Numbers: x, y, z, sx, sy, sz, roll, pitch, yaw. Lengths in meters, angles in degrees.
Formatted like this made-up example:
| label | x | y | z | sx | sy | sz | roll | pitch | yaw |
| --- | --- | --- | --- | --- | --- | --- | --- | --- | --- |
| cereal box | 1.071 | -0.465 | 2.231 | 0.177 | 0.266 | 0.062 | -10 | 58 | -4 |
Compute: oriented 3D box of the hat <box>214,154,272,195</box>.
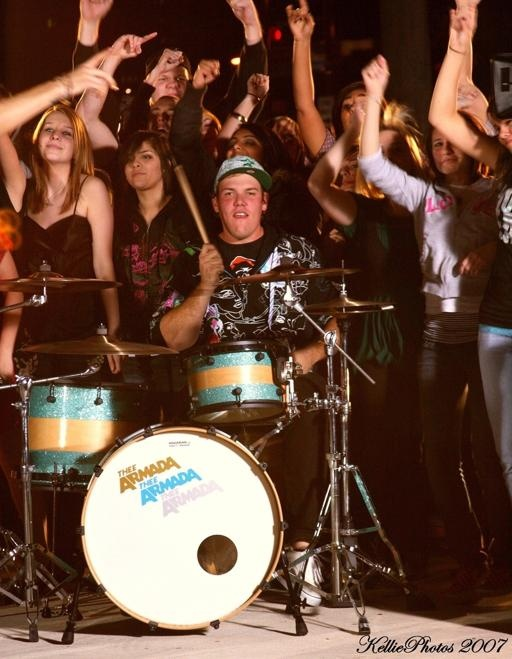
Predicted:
| label | x | y | z | sx | sy | sz | roll | pitch | yaw |
| --- | --- | --- | --- | --- | --- | --- | --- | --- | --- |
| hat | -0.054 | -0.686 | 3.069 | 0.217 | 0.191 | 0.185 | 2 | -9 | -28 |

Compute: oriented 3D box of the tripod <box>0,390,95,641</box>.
| label | x | y | z | sx | sy | sz | roll | pitch | yaw |
| --- | --- | --- | --- | --- | --- | --- | --- | --- | --- |
| tripod | -0.709 | 0.555 | 2.391 | 0.259 | 0.832 | 0.524 | -1 | -9 | -13 |

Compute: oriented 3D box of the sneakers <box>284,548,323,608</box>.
| label | x | y | z | sx | sy | sz | roll | pitch | yaw |
| --- | --- | --- | --- | --- | --- | --- | --- | --- | --- |
| sneakers | 0.193 | 0.872 | 2.509 | 0.100 | 0.245 | 0.111 | 4 | -17 | -39 |

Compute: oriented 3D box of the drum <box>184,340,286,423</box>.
| label | x | y | z | sx | sy | sz | roll | pitch | yaw |
| --- | --- | --- | --- | --- | --- | --- | --- | --- | --- |
| drum | -0.048 | 0.173 | 2.522 | 0.312 | 0.179 | 0.292 | -2 | -9 | 0 |

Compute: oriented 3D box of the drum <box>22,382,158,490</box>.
| label | x | y | z | sx | sy | sz | roll | pitch | yaw |
| --- | --- | --- | --- | --- | --- | --- | --- | --- | --- |
| drum | -0.798 | 0.383 | 2.647 | 0.518 | 0.304 | 0.476 | -3 | -8 | -1 |

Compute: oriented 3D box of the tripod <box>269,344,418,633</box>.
| label | x | y | z | sx | sy | sz | roll | pitch | yaw |
| --- | --- | --- | --- | --- | --- | --- | --- | --- | --- |
| tripod | 0.293 | 0.512 | 2.616 | 0.449 | 0.949 | 0.871 | -4 | -8 | 9 |
